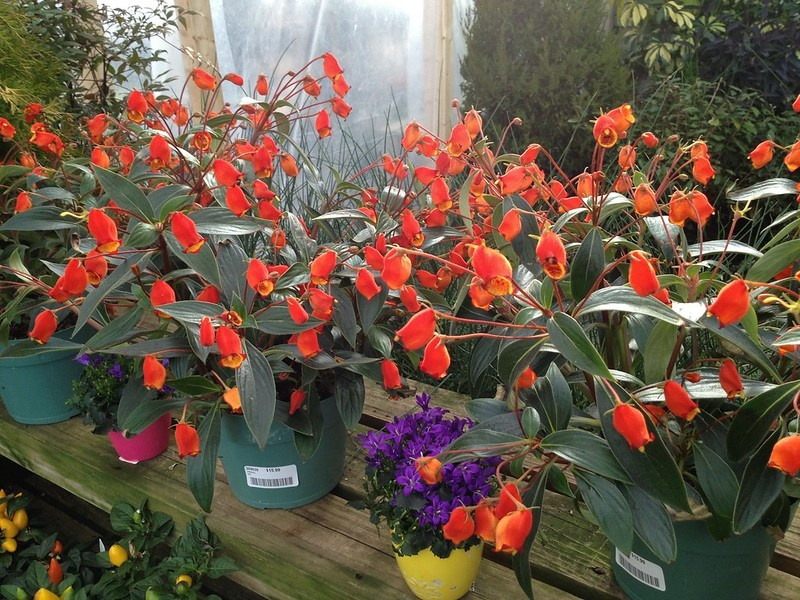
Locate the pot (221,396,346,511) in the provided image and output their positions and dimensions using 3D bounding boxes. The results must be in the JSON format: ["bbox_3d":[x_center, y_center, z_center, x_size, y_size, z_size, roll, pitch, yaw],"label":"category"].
[{"bbox_3d":[-0.270,0.324,1.265,0.261,0.213,0.272,-5,17,1],"label":"pot"}]
